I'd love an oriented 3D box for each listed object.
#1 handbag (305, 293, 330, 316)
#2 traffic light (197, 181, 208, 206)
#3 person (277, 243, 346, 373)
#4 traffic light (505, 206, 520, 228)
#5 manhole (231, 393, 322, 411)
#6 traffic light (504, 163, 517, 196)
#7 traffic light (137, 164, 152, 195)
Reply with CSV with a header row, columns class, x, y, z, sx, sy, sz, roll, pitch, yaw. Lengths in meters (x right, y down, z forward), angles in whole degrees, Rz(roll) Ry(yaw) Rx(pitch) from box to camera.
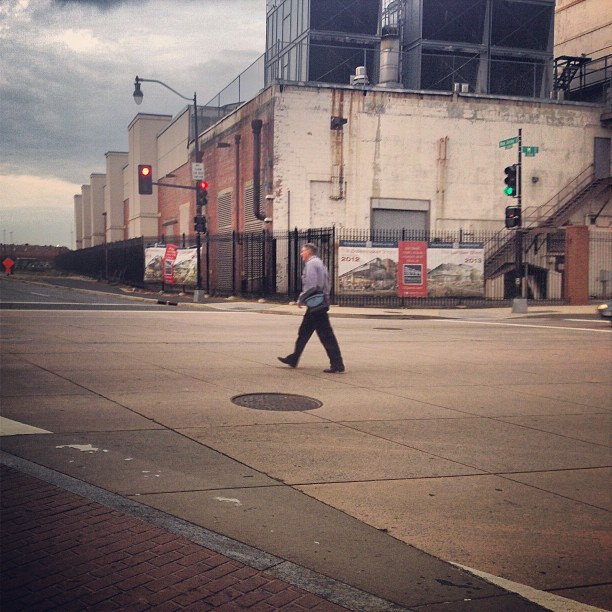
class,x,y,z,sx,sy,sz,roll,pitch,yaw
handbag,0.171,-0.011,16.989,0.238,0.133,0.314,-15,-2,11
traffic light,-3.076,-3.291,36.659,0.282,0.866,1.125,0,13,-6
person,0.133,0.088,17.143,0.877,1.676,1.403,2,13,2
traffic light,5.017,-2.175,30.399,0.415,0.785,0.444,1,0,2
manhole,-0.349,1.119,14.325,1.004,0.100,0.960,1,13,-6
traffic light,4.903,-2.970,29.842,0.268,0.712,0.440,4,13,9
traffic light,-4.798,-3.756,36.957,0.371,0.885,0.753,0,13,-10
